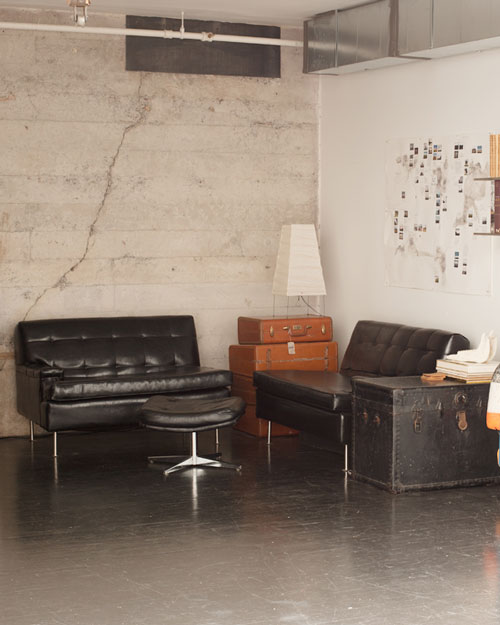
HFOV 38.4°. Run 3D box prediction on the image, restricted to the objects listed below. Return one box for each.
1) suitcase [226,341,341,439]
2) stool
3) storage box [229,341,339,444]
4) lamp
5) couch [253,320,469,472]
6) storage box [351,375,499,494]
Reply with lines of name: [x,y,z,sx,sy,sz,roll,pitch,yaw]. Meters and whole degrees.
suitcase: [0.269,0.632,6.159,1.057,0.870,0.772,-1,0,-22]
stool: [-0.373,0.813,4.894,0.660,0.452,0.690,0,1,-1]
storage box: [0.303,0.559,6.253,0.833,0.624,0.633,-2,4,-10]
lamp: [0.437,-0.412,6.275,0.484,0.677,0.423,-5,10,-31]
couch: [0.741,0.515,5.187,1.087,0.759,1.295,-4,4,-28]
storage box: [1.083,0.562,4.434,1.039,0.642,0.627,0,-1,-24]
